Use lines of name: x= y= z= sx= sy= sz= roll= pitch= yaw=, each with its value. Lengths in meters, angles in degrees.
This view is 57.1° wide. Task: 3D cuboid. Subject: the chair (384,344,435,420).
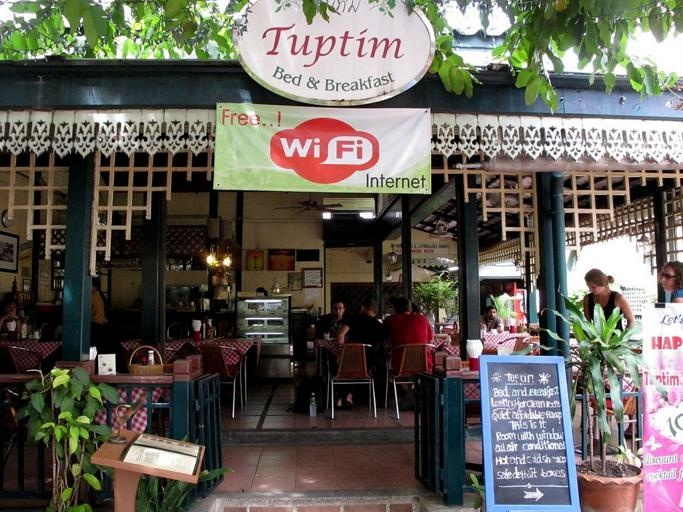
chair: x=0.792 y=1.498 z=8.032 sx=0.706 sy=1.296 sz=0.821 roll=0 pitch=-1 yaw=-7

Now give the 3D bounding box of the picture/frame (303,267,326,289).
picture/frame: x=-0.755 y=0.550 z=16.285 sx=0.512 sy=0.523 sz=0.074 roll=0 pitch=-18 yaw=-14

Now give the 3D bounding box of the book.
book: x=-1.246 y=1.381 z=4.383 sx=0.506 sy=0.200 sz=0.274 roll=1 pitch=7 yaw=1

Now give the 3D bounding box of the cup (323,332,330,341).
cup: x=-0.239 y=1.237 z=9.765 sx=0.098 sy=0.153 sz=0.103 roll=1 pitch=6 yaw=0

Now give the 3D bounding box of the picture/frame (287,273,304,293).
picture/frame: x=-1.218 y=0.683 z=16.190 sx=0.438 sy=0.575 sz=0.072 roll=1 pitch=-12 yaw=-5

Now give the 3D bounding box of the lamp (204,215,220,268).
lamp: x=-2.576 y=-0.290 z=12.478 sx=0.281 sy=0.932 sz=1.765 roll=-1 pitch=8 yaw=-12

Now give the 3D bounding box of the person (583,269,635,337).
person: x=2.673 y=0.486 z=6.351 sx=0.494 sy=0.758 sz=0.447 roll=-5 pitch=14 yaw=22

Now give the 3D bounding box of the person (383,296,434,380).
person: x=0.800 y=1.027 z=8.240 sx=0.624 sy=1.095 sz=0.659 roll=-3 pitch=6 yaw=23

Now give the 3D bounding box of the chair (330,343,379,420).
chair: x=0.150 y=1.513 z=7.864 sx=0.622 sy=0.956 sz=1.031 roll=1 pitch=7 yaw=0

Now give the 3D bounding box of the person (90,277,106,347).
person: x=-4.008 y=1.012 z=10.334 sx=0.239 sy=0.972 sz=0.573 roll=-2 pitch=7 yaw=-20
